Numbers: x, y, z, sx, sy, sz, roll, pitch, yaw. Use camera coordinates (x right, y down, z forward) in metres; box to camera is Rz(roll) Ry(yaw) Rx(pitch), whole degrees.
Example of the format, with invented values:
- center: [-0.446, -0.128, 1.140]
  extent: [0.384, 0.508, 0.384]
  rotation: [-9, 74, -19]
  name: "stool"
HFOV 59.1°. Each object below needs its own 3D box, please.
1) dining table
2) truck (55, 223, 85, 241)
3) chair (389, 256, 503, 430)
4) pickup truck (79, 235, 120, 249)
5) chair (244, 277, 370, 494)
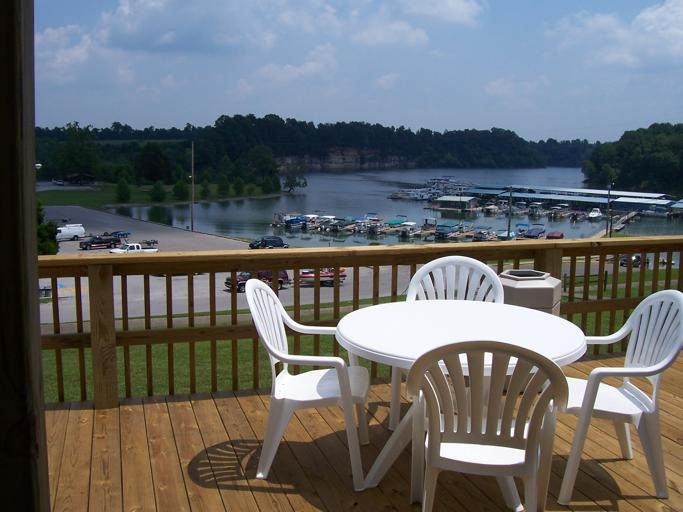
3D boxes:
- center: [0.491, 0.346, 2.746]
  extent: [0.881, 0.635, 0.938]
  rotation: [2, 12, 4]
  name: "dining table"
- center: [-26.141, -2.128, 58.116]
  extent: [1.927, 1.400, 3.219]
  rotation: [-2, 6, -14]
  name: "truck"
- center: [0.681, 0.472, 3.948]
  extent: [0.523, 0.640, 0.858]
  rotation: [0, -16, 10]
  name: "chair"
- center: [-20.787, -1.070, 52.052]
  extent: [2.978, 1.282, 1.431]
  rotation: [-1, 5, -33]
  name: "pickup truck"
- center: [-0.173, 0.545, 3.200]
  extent: [0.779, 1.211, 0.843]
  rotation: [1, 11, 4]
  name: "chair"
